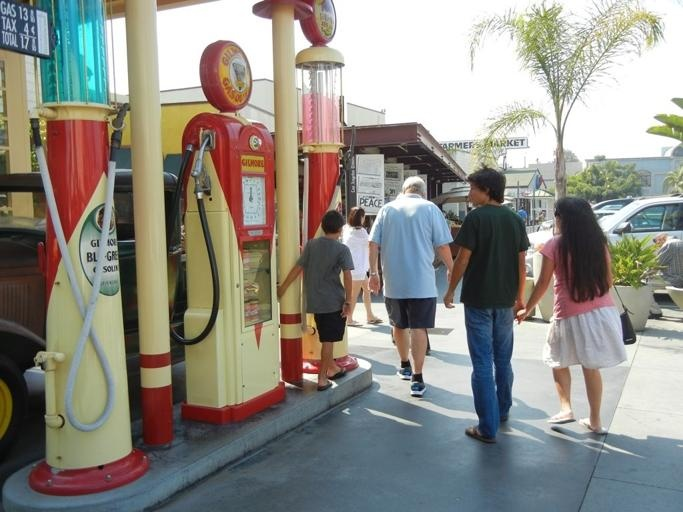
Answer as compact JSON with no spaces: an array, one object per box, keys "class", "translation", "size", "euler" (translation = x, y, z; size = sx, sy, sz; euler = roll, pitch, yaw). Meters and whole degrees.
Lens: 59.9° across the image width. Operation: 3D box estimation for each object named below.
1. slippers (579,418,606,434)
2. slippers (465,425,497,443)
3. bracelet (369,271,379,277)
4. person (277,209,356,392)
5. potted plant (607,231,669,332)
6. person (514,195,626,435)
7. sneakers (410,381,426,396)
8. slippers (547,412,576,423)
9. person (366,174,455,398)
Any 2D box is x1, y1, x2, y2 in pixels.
[{"class":"slippers","translation":[2.226,1.500,5.247],"size":[0.069,0.098,0.211],"euler":[-5,4,-26]},{"class":"slippers","translation":[1.186,1.552,5.112],"size":[0.099,0.097,0.214],"euler":[-4,15,-41]},{"class":"bracelet","translation":[0.368,0.210,6.883],"size":[0.127,0.067,0.164],"euler":[-2,-9,-4]},{"class":"person","translation":[-0.221,0.432,5.846],"size":[0.645,1.727,0.366],"euler":[-1,6,-5]},{"class":"potted plant","translation":[4.322,0.379,8.722],"size":[0.688,1.338,0.708],"euler":[-5,9,-43]},{"class":"person","translation":[2.069,0.521,5.154],"size":[0.755,2.036,0.297],"euler":[2,6,21]},{"class":"sneakers","translation":[0.808,1.365,6.178],"size":[0.188,0.144,0.185],"euler":[-1,7,-8]},{"class":"slippers","translation":[1.979,1.465,5.329],"size":[0.217,0.111,0.109],"euler":[-4,-2,7]},{"class":"person","translation":[0.775,0.273,6.457],"size":[0.659,2.278,0.789],"euler":[0,-1,34]}]
